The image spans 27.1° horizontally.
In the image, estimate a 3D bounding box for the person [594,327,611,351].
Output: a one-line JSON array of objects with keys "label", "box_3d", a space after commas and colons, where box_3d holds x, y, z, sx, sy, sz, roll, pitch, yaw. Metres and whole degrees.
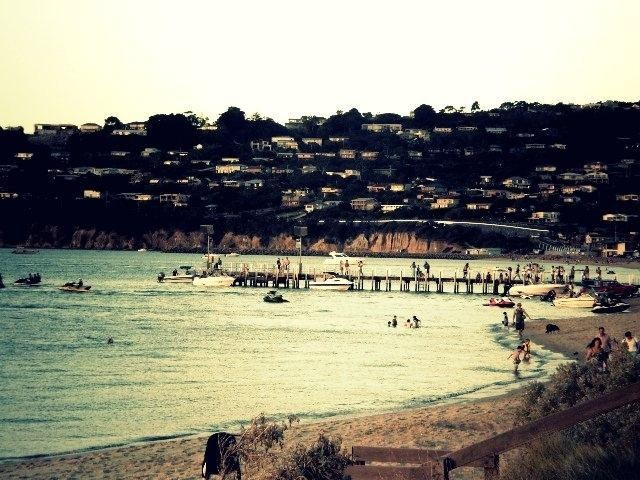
[{"label": "person", "box_3d": [27.449, 9.534, 128.268, 1.142, 2.796, 1.048, -23, -7, 31]}]

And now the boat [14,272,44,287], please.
[{"label": "boat", "box_3d": [-39.909, 5.317, 180.217, 3.163, 1.318, 2.295, 1, 3, 32]}]

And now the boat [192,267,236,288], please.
[{"label": "boat", "box_3d": [-14.540, 5.301, 180.343, 2.764, 1.610, 4.028, -3, 5, -43]}]

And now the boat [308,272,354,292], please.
[{"label": "boat", "box_3d": [1.561, 5.483, 176.001, 5.289, 2.232, 2.458, 2, 3, 12]}]

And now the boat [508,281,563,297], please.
[{"label": "boat", "box_3d": [26.626, 6.031, 162.964, 6.544, 1.643, 1.640, -2, -6, 39]}]

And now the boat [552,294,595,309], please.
[{"label": "boat", "box_3d": [30.007, 7.070, 155.081, 3.314, 1.232, 1.780, 3, 3, 30]}]
